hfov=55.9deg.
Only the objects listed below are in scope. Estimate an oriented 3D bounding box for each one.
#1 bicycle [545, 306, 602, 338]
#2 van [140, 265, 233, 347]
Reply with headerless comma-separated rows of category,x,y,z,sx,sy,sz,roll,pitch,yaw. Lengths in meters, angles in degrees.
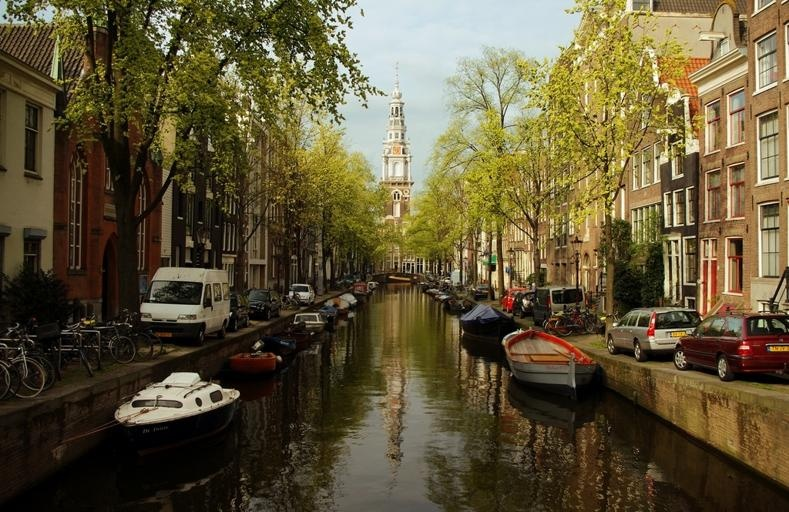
bicycle,9.017,3.397,37.994,3.137,1.546,1.243,-6,1,-22
van,-8.913,2.064,31.922,2.924,3.073,5.913,2,0,4
